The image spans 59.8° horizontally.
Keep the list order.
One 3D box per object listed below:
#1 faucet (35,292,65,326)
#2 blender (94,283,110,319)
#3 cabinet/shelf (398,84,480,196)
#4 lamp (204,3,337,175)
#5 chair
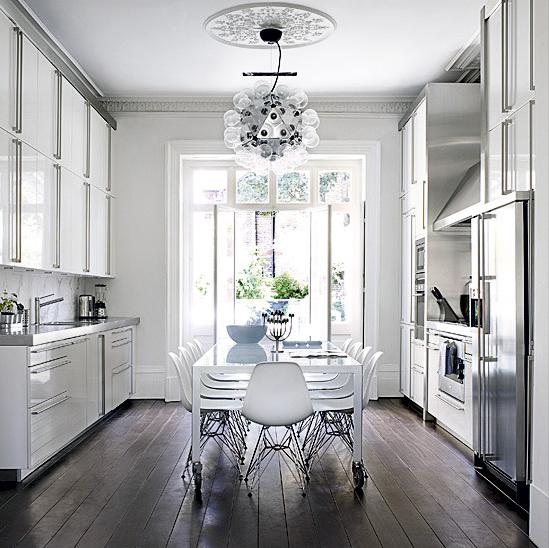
[{"bbox_3d":[-2.100,0.312,4.455,0.198,0.293,0.745,1,-4,-15],"label":"faucet"},{"bbox_3d":[-1.982,0.297,5.469,0.149,0.404,0.549,1,-4,-20],"label":"blender"},{"bbox_3d":[1.667,-1.354,4.786,0.487,1.214,1.376,1,1,3],"label":"cabinet/shelf"},{"bbox_3d":[-0.037,-1.424,3.923,1.097,1.417,1.226,0,0,-3],"label":"lamp"},{"bbox_3d":[0.018,0.925,3.401,1.318,0.823,1.442,0,-4,-6],"label":"chair"}]
